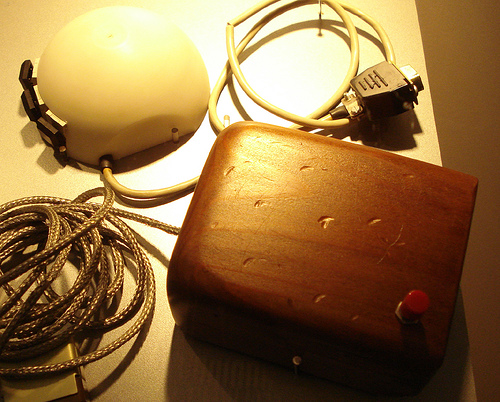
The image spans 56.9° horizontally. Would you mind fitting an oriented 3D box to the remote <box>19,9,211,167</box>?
[{"bbox_3d":[-0.237,-0.189,0.773,0.331,0.238,0.155,-18,21,-5],"label":"remote"}]
